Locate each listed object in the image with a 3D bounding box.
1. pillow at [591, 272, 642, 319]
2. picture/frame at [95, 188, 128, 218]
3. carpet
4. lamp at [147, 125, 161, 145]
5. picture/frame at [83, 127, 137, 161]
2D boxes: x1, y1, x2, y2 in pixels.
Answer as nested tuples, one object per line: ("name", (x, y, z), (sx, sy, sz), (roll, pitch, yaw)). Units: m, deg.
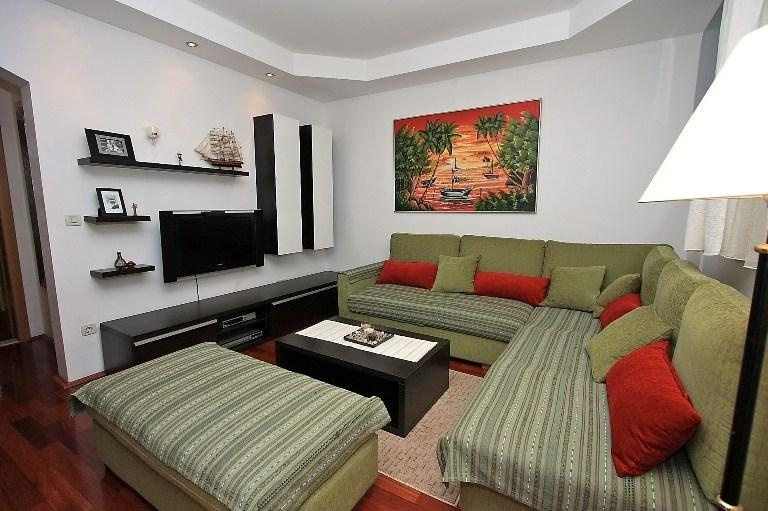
("pillow", (2.125, 0.446, 4.347), (0.334, 0.269, 0.748), (-9, -1, 32))
("picture/frame", (-2.493, -0.498, 4.390), (0.213, 0.246, 0.180), (-7, 13, -29))
("carpet", (0.303, 1.393, 3.612), (0.684, 0.007, 1.133), (8, 25, 29))
("lamp", (-2.221, -1.173, 4.663), (0.125, 0.175, 0.102), (-10, 15, -39))
("picture/frame", (-2.507, -1.016, 4.357), (0.038, 0.271, 0.377), (-14, -6, 40))
